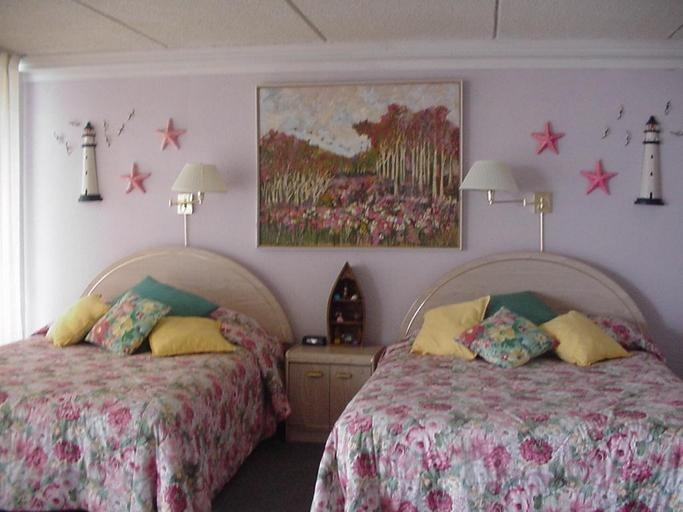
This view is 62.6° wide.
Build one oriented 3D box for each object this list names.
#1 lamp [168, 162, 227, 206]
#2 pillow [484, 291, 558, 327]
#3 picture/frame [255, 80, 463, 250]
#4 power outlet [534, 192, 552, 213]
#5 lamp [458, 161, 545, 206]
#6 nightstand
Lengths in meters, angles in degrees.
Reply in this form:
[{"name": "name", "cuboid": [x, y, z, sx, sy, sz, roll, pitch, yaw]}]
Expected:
[{"name": "lamp", "cuboid": [-1.219, -0.549, 4.652, 0.384, 0.301, 0.373, 2, 4, 37]}, {"name": "pillow", "cuboid": [1.366, 0.372, 4.207, 0.310, 0.102, 0.299, -11, 19, -26]}, {"name": "picture/frame", "cuboid": [0.224, -0.757, 4.603, 1.275, 1.049, 0.049, 0, -1, 7]}, {"name": "power outlet", "cuboid": [1.620, -0.426, 4.483, 0.147, 0.187, 0.024, 1, 5, 9]}, {"name": "lamp", "cuboid": [1.279, -0.547, 4.407, 0.738, 0.391, 0.409, -6, 8, -38]}, {"name": "nightstand", "cuboid": [0.032, 0.963, 4.596, 0.890, 0.961, 0.599, 0, 0, 8]}]
